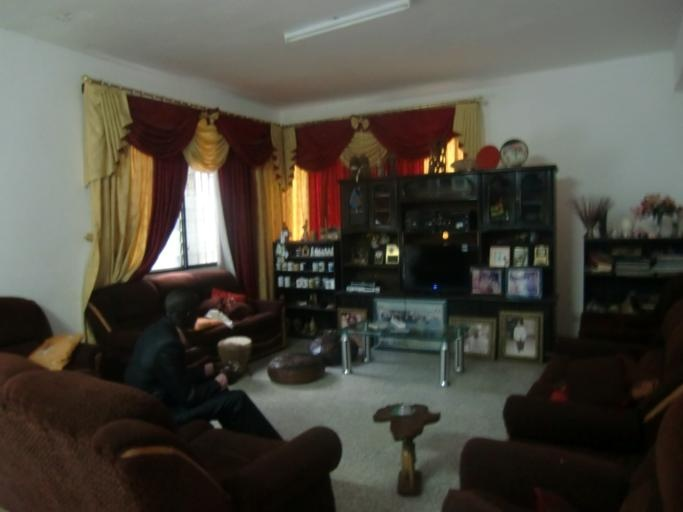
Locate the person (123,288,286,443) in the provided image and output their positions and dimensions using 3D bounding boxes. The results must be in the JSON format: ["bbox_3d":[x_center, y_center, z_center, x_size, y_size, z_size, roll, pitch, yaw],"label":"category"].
[{"bbox_3d":[-1.008,0.973,4.347,1.053,1.468,0.593,-8,7,-16],"label":"person"}]

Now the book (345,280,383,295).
[{"bbox_3d":[0.270,0.417,7.363,0.330,0.132,0.183,4,6,31],"label":"book"}]

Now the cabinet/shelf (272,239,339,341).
[{"bbox_3d":[-0.474,0.440,7.736,1.197,1.790,0.386,1,3,28],"label":"cabinet/shelf"}]
